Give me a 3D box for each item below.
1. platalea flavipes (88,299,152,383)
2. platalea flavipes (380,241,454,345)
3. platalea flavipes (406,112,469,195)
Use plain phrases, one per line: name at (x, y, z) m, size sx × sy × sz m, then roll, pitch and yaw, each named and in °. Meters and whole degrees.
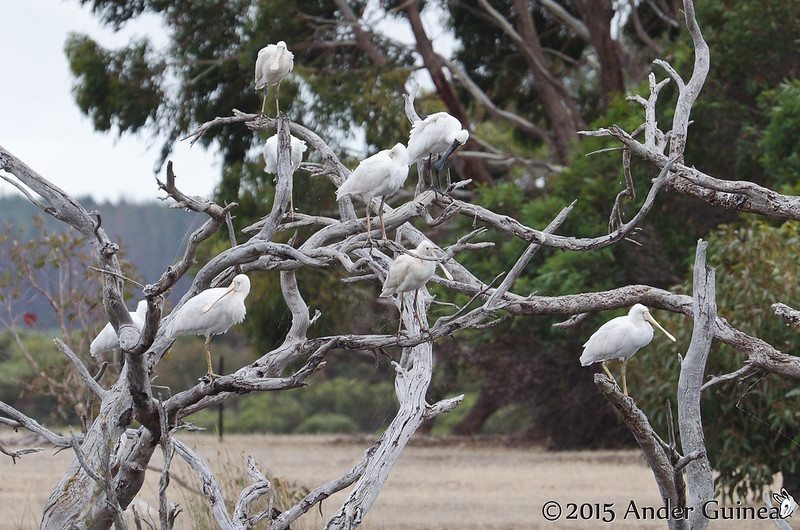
platalea flavipes at (-5.542, 1.320, 29.088) m, size 0.944 × 1.377 × 0.561 m, roll 1°, pitch 23°, yaw -7°
platalea flavipes at (0.286, 0.429, 27.485) m, size 1.201 × 1.824 × 1.121 m, roll -3°, pitch -7°, yaw 14°
platalea flavipes at (0.619, -2.260, 29.047) m, size 1.462 × 1.455 × 0.776 m, roll -15°, pitch -11°, yaw 38°
